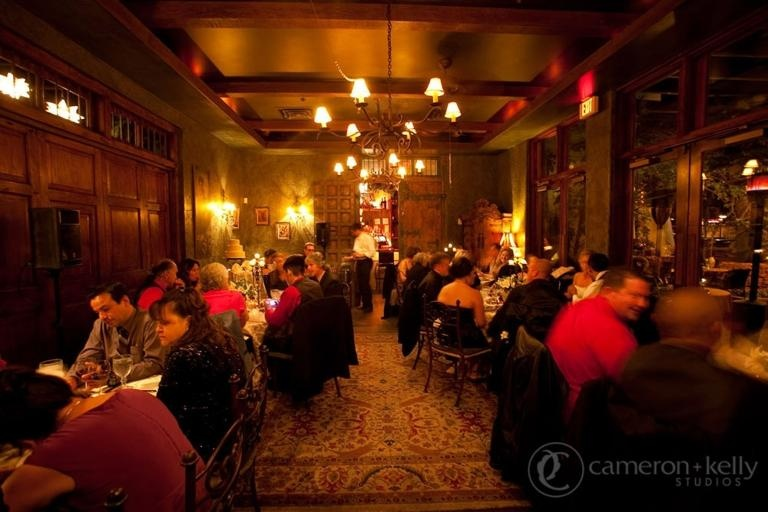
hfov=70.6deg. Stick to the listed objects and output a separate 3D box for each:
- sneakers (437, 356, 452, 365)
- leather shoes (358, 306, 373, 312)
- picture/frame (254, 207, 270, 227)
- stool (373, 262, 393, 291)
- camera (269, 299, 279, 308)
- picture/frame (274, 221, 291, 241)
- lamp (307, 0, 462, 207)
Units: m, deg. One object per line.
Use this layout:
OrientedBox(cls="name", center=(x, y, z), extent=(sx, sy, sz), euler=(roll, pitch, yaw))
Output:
OrientedBox(cls="sneakers", center=(0.817, 1.427, 7.389), extent=(0.099, 0.053, 0.229), euler=(-1, 0, -26))
OrientedBox(cls="leather shoes", center=(-0.356, 0.984, 10.298), extent=(0.252, 0.090, 0.359), euler=(-3, 3, -5))
OrientedBox(cls="picture/frame", center=(-2.828, -0.933, 12.357), extent=(0.448, 0.527, 0.054), euler=(1, 6, -3))
OrientedBox(cls="stool", center=(-0.028, 0.390, 10.833), extent=(0.541, 0.759, 0.575), euler=(0, -3, 0))
OrientedBox(cls="camera", center=(-1.359, 0.561, 6.613), extent=(0.115, 0.083, 0.113), euler=(-1, 3, -29))
OrientedBox(cls="picture/frame", center=(-2.369, -0.607, 12.398), extent=(0.448, 0.594, 0.061), euler=(1, 3, -2))
OrientedBox(cls="lamp", center=(0.412, -2.324, 8.185), extent=(2.140, 3.572, 1.955), euler=(-1, 4, -1))
